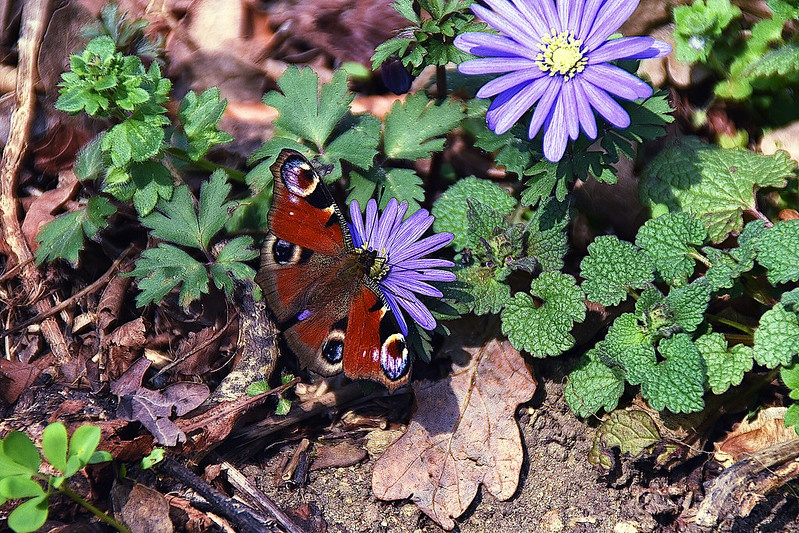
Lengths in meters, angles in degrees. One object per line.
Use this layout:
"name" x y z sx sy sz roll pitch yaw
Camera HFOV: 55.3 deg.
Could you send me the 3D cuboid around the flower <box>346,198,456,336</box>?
"flower" -0.016 0.040 4.265 0.650 0.169 0.721 23 87 11
